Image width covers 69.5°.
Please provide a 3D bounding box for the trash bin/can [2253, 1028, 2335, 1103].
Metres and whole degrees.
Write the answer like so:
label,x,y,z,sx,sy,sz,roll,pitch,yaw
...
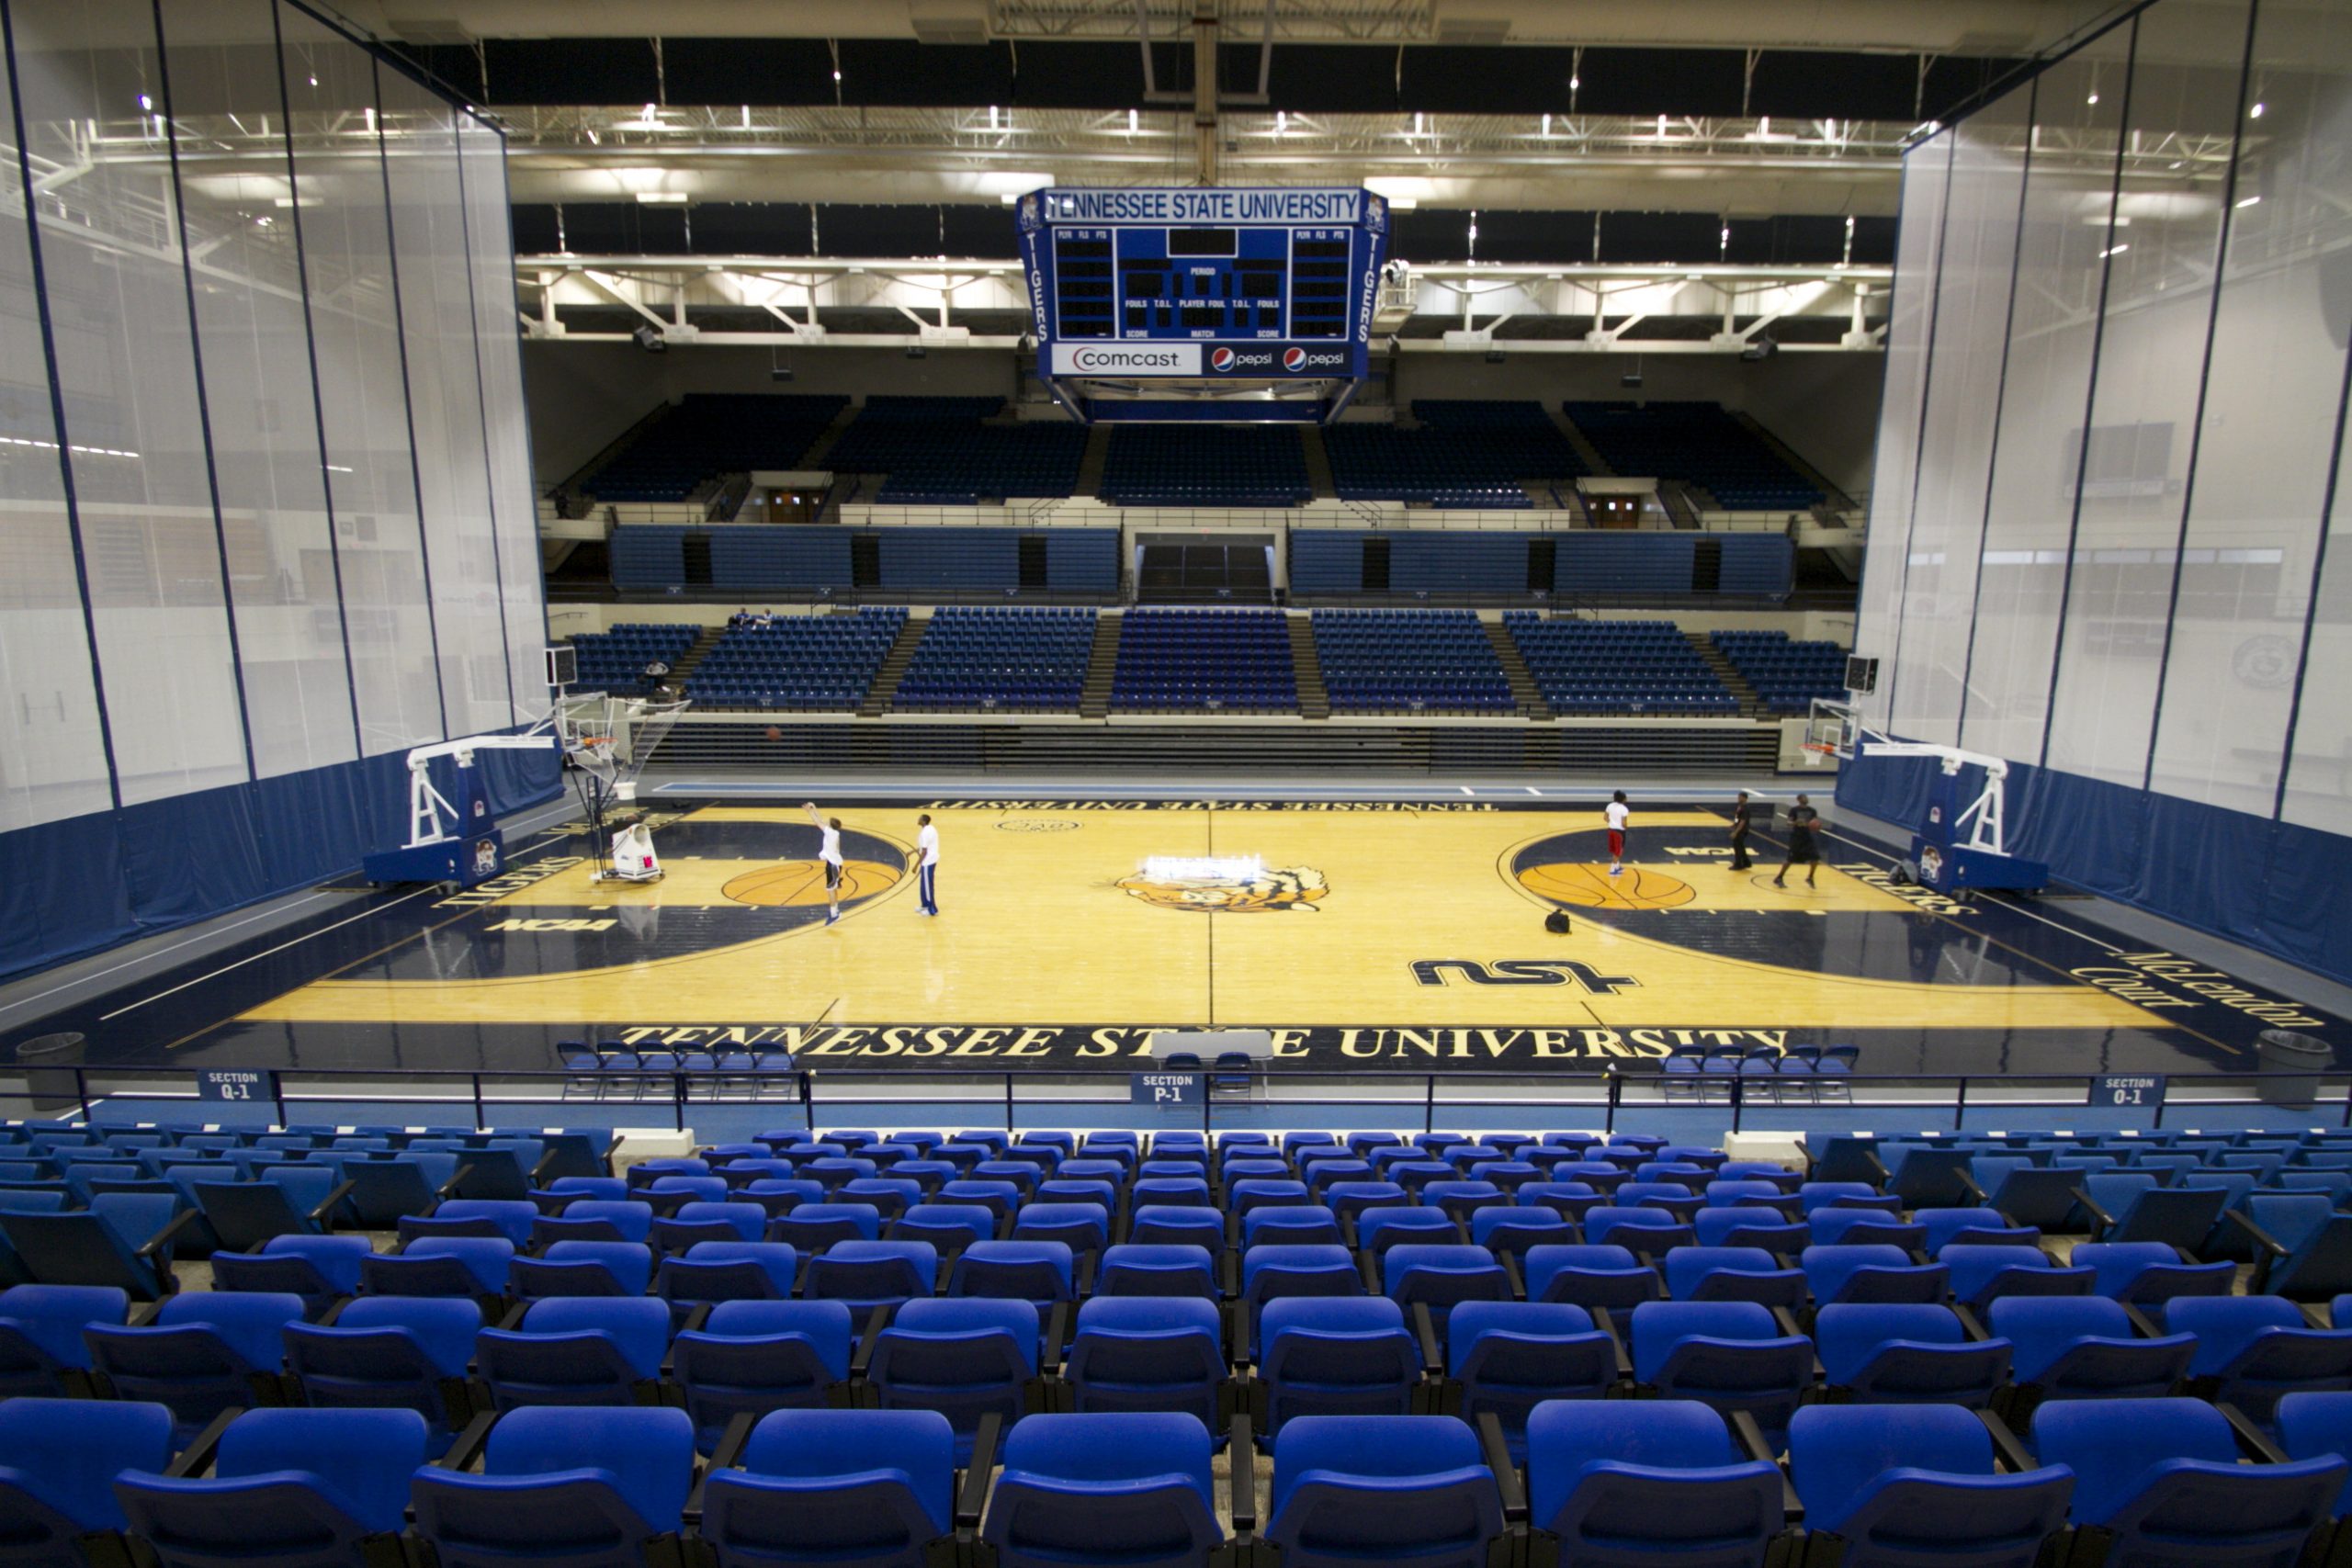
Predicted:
label,x,y,z,sx,sy,sz,roll,pitch,yaw
trash bin/can,12.008,3.009,18.201,0.932,0.894,0.579,-2,-83,-31
